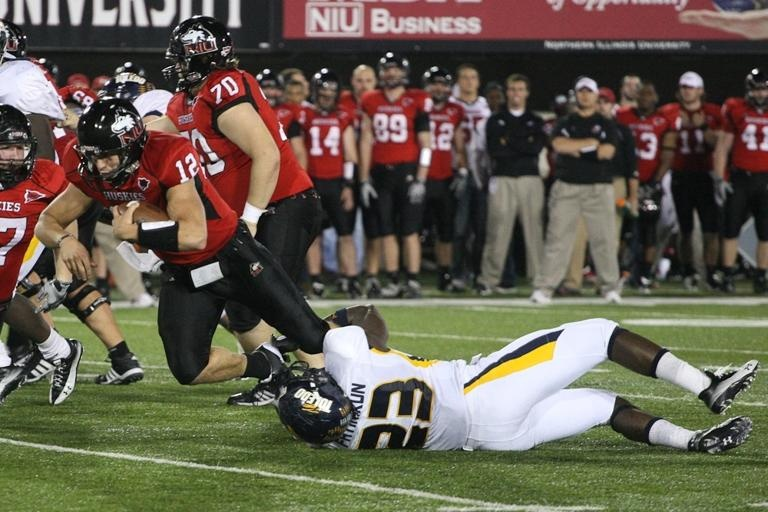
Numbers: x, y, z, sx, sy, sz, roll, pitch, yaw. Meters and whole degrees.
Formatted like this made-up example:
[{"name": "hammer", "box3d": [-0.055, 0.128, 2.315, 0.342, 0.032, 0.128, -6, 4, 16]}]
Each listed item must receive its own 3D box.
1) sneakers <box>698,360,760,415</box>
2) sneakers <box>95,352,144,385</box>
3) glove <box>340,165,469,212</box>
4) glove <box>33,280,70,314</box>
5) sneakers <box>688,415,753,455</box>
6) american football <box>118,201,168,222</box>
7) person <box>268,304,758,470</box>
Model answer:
[{"name": "sneakers", "box3d": [1.934, 0.744, 6.039, 0.360, 0.276, 0.149, -4, 7, -28]}, {"name": "sneakers", "box3d": [-1.872, 0.808, 7.549, 0.434, 0.247, 0.152, -4, 0, 39]}, {"name": "glove", "box3d": [0.173, -0.739, 11.481, 0.507, 0.283, 0.856, -17, -3, 44]}, {"name": "glove", "box3d": [-2.077, 0.251, 6.803, 0.257, 0.159, 0.079, -46, -11, 16]}, {"name": "sneakers", "box3d": [1.876, 1.008, 6.055, 0.410, 0.166, 0.198, -25, -3, 27]}, {"name": "american football", "box3d": [-1.405, -0.246, 6.285, 0.199, 0.060, 0.139, 18, 10, -8]}, {"name": "person", "box3d": [0.732, 0.703, 6.412, 2.663, 1.020, 1.053, 3, -1, -3]}]
